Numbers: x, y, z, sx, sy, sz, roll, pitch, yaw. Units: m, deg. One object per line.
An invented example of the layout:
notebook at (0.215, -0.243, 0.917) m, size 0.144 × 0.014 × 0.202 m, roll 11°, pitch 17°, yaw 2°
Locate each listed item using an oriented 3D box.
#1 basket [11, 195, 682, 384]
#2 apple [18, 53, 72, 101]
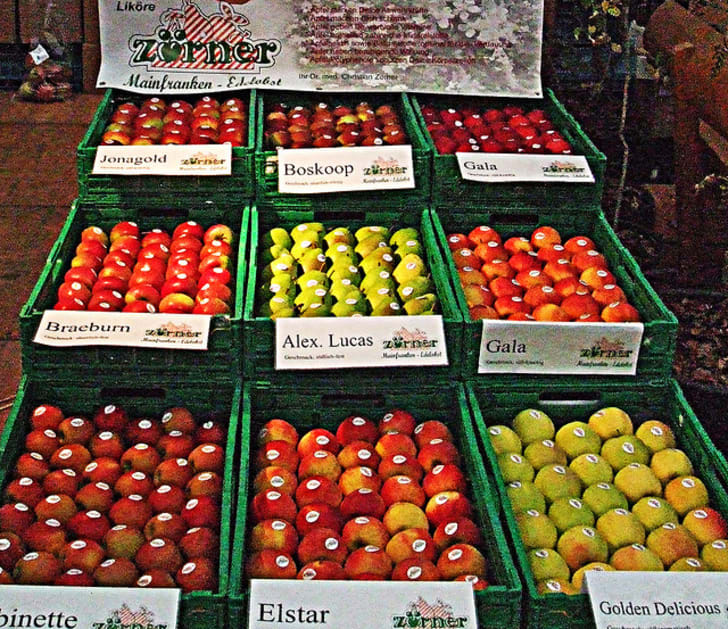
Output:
basket at (-0.090, 0.029, 2.764) m, size 2.799 × 0.312 × 1.116 m, roll 1°, pitch 35°, yaw -2°
apple at (-1.849, -1.341, 3.514) m, size 0.247 × 0.234 × 0.360 m, roll -4°, pitch 11°, yaw 45°
